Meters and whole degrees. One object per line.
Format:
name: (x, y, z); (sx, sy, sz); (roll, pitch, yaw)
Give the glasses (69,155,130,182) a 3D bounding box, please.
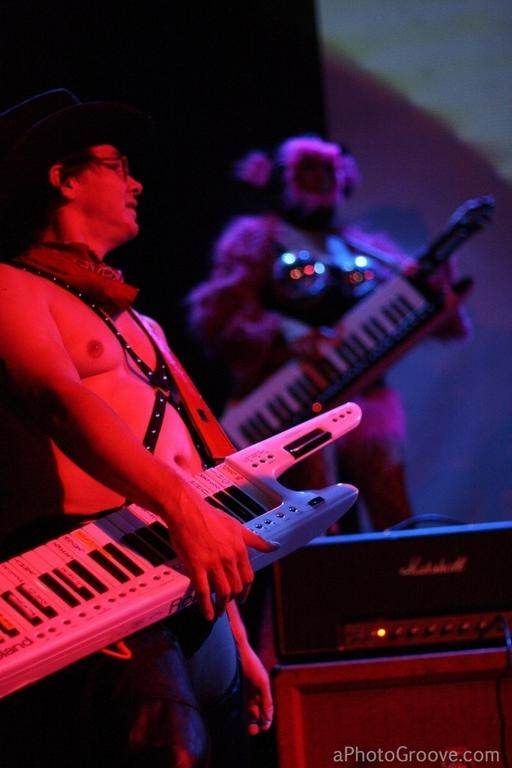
glasses: (-0.458, -0.591, 2.391); (0.118, 0.103, 0.029); (-11, 87, 19)
